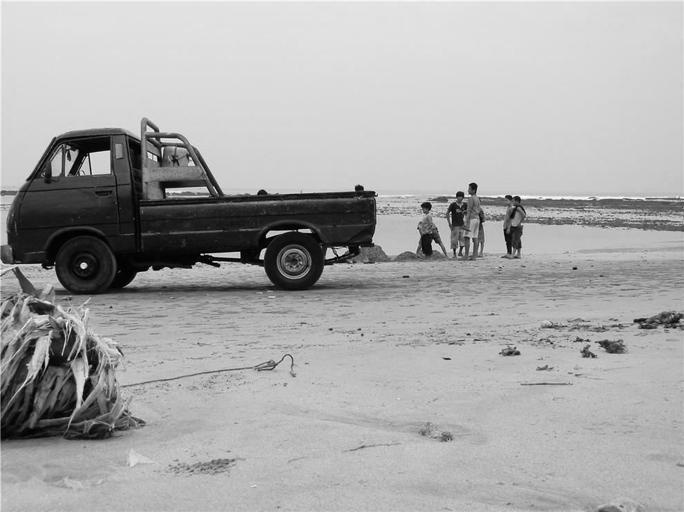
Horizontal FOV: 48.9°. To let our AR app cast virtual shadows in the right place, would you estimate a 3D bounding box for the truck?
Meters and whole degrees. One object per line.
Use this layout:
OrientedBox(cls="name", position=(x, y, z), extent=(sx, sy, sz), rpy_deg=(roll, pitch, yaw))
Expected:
OrientedBox(cls="truck", position=(-2.752, -0.845, 13.729), extent=(6.401, 2.804, 2.844), rpy_deg=(1, 0, 2))
